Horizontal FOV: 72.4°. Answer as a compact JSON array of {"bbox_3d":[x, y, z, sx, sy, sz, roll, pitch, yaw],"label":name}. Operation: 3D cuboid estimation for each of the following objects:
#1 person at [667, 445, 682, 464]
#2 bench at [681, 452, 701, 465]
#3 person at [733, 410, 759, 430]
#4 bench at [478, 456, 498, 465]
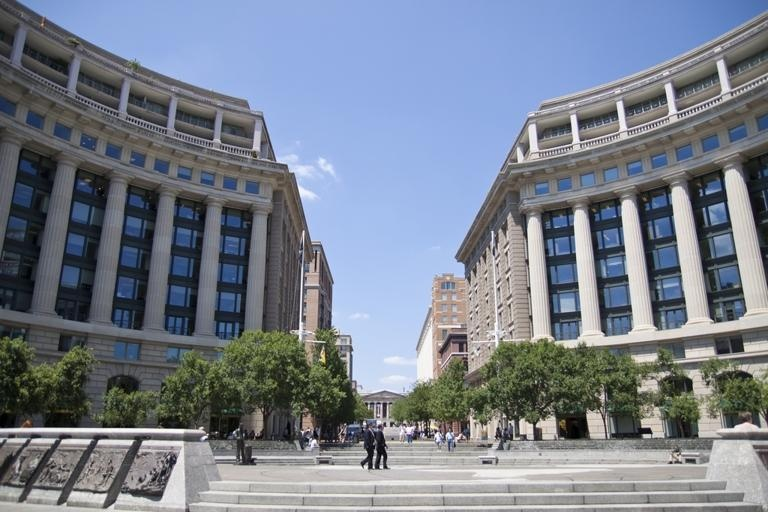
[{"bbox_3d":[19.095,13.059,34.456,0.568,1.085,1.406,-14,-26,35],"label":"person"},{"bbox_3d":[20.494,13.507,34.979,1.000,0.623,0.706,-5,-30,26],"label":"bench"},{"bbox_3d":[16.728,7.620,24.332,0.826,1.048,3.320,-12,-25,31],"label":"person"},{"bbox_3d":[7.520,14.780,38.013,1.238,0.563,3.820,-3,-22,9],"label":"bench"}]
